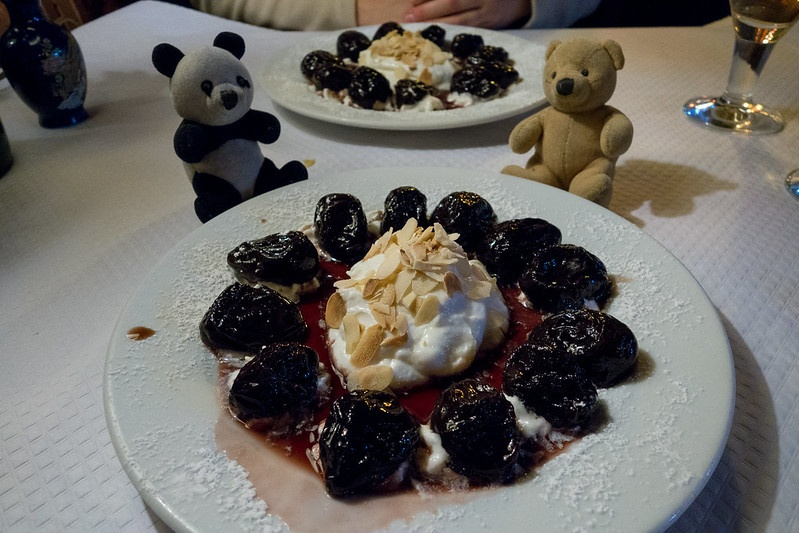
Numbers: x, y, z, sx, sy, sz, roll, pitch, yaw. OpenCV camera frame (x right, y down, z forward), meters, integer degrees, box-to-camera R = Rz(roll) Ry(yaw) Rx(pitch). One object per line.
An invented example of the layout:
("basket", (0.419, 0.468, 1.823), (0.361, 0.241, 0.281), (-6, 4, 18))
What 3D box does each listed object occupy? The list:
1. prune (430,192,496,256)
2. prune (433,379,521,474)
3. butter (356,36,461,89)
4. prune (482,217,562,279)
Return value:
("prune", (0.168, -0.113, 1.707), (0.143, 0.095, 0.152), (-8, 64, -1))
("prune", (0.162, 0.332, 1.459), (0.178, 0.079, 0.226), (-9, 35, -16))
("butter", (0.033, -0.740, 2.477), (0.251, 0.097, 0.260), (35, 41, 29))
("prune", (0.289, -0.057, 1.717), (0.155, 0.063, 0.150), (-41, 51, -17))
